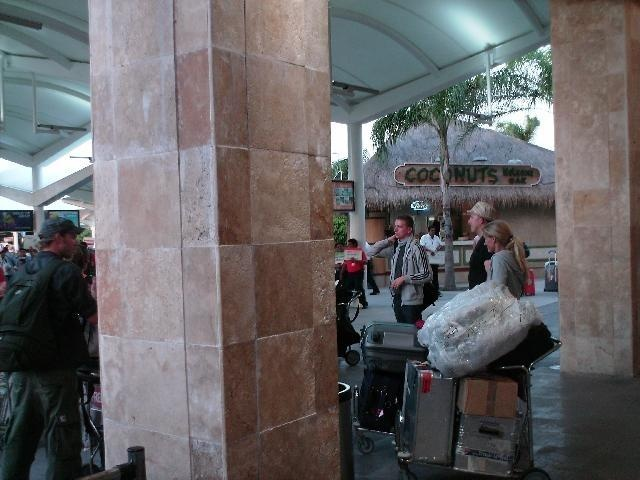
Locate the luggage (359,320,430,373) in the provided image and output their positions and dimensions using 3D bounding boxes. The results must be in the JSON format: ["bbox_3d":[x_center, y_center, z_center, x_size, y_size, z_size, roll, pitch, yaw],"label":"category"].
[{"bbox_3d":[0.739,1.024,5.796,0.611,0.471,0.512,5,4,-1],"label":"luggage"}]

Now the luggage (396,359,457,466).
[{"bbox_3d":[1.009,1.366,5.250,0.404,0.889,0.853,5,19,11],"label":"luggage"}]

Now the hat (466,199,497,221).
[{"bbox_3d":[1.792,-0.313,6.516,0.259,0.232,0.473,-3,0,16],"label":"hat"}]

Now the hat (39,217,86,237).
[{"bbox_3d":[-2.175,-0.108,4.982,0.295,0.166,0.195,1,4,-40],"label":"hat"}]

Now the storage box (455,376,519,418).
[{"bbox_3d":[1.400,1.233,4.968,0.497,0.313,0.529,6,14,17],"label":"storage box"}]
